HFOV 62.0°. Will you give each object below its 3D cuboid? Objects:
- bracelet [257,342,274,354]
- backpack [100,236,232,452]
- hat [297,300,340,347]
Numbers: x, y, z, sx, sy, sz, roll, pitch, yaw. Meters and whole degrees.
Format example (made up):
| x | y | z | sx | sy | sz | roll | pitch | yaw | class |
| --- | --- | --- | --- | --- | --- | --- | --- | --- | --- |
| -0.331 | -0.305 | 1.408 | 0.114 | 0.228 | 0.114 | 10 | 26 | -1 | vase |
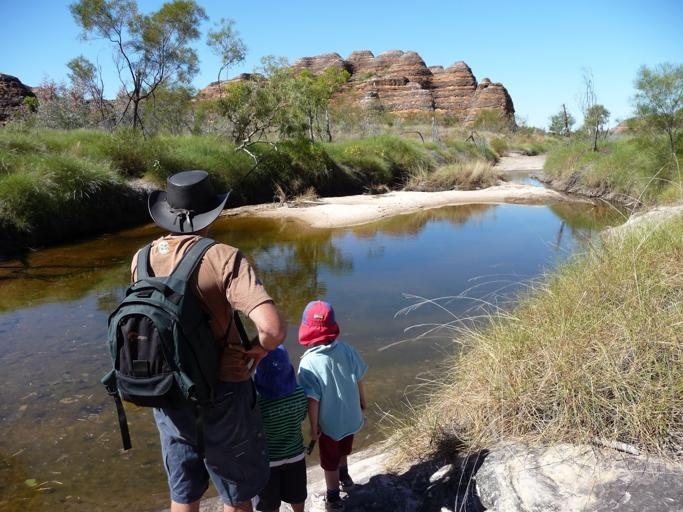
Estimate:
| x | y | z | sx | sy | sz | roll | pitch | yaw | class |
| --- | --- | --- | --- | --- | --- | --- | --- | --- | --- |
| -0.544 | 0.674 | 4.095 | 0.088 | 0.072 | 0.089 | 2 | 2 | 5 | bracelet |
| -1.245 | 0.499 | 4.014 | 0.760 | 1.098 | 0.397 | -3 | 14 | -14 | backpack |
| -0.188 | 0.573 | 4.689 | 0.242 | 0.235 | 0.412 | -1 | 4 | -1 | hat |
